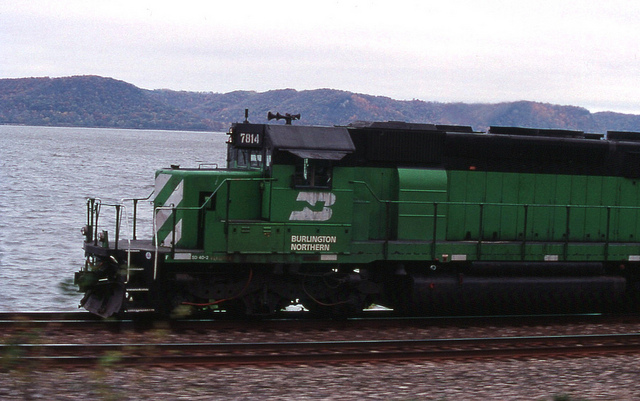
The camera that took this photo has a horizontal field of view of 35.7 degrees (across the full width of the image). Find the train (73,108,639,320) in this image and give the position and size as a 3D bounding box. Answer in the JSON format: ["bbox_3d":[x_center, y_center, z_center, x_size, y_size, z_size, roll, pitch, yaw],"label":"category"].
[{"bbox_3d":[1.768,0.483,26.773,14.455,5.656,1.436,-1,1,-12],"label":"train"}]
